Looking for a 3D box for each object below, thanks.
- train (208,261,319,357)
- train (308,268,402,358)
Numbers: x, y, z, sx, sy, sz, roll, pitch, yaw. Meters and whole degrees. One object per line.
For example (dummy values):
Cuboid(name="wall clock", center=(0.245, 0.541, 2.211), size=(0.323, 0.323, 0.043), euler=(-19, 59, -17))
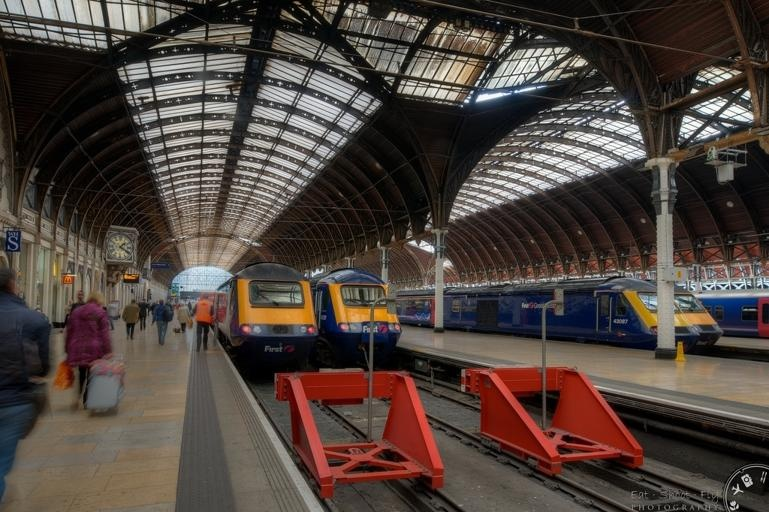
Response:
Cuboid(name="train", center=(-3.951, 2.056, 16.994), size=(3.045, 3.548, 1.860), euler=(-4, 4, -7))
Cuboid(name="train", center=(-1.198, 2.301, 18.403), size=(1.548, 2.120, 4.496), euler=(2, -4, -19))
